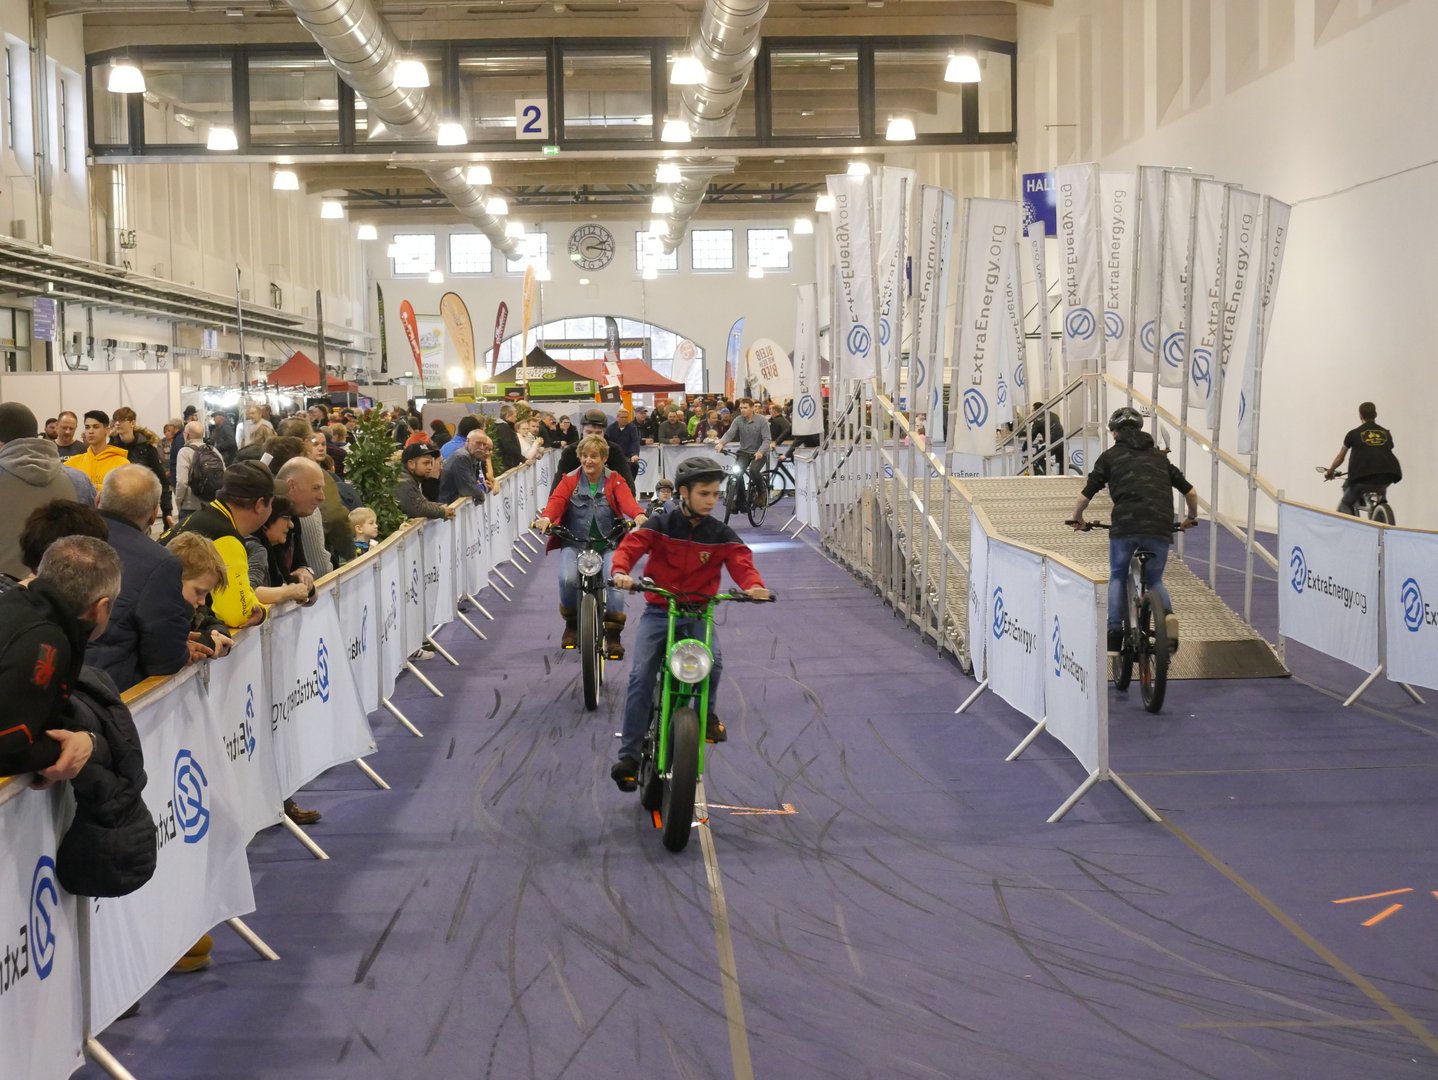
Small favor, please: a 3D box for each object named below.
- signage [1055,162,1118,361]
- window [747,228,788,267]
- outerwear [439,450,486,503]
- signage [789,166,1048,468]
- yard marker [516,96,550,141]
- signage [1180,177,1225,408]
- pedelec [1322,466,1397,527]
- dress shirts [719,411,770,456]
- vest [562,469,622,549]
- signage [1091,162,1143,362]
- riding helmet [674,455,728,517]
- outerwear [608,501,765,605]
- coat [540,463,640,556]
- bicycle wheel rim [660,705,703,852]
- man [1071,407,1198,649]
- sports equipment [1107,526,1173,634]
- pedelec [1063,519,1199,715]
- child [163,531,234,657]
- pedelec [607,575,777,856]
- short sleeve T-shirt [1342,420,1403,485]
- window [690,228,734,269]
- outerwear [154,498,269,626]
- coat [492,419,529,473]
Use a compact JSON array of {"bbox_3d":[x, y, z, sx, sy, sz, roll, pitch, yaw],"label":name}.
[{"bbox_3d":[3.641,-2.764,12.252,0.475,1.921,0.507,0,6,7],"label":"signage"},{"bbox_3d":[1.925,-11.742,49.228,2.046,2.373,0.237,0,1,-5],"label":"window"},{"bbox_3d":[-2.576,-0.593,12.400,0.408,0.771,0.534,-5,3,0],"label":"outerwear"},{"bbox_3d":[2.278,-2.366,13.883,2.339,3.741,6.918,1,7,12],"label":"signage"},{"bbox_3d":[-3.494,-7.934,23.220,0.587,0.804,0.829,-2,6,-11],"label":"yard marker"},{"bbox_3d":[4.301,-2.062,10.741,0.515,2.320,0.064,4,32,28],"label":"signage"},{"bbox_3d":[7.244,-0.480,13.761,0.539,0.717,1.049,-4,8,8],"label":"pedelec"},{"bbox_3d":[0.532,-1.759,21.088,0.679,0.842,0.715,-2,-8,13],"label":"dress shirts"},{"bbox_3d":[-1.015,-0.142,9.892,0.568,0.886,0.450,1,-8,-6],"label":"vest"},{"bbox_3d":[3.998,-2.689,12.323,0.404,2.176,0.041,6,45,21],"label":"signage"},{"bbox_3d":[-0.076,-0.311,6.697,0.217,0.335,0.309,-1,39,-18],"label":"riding helmet"},{"bbox_3d":[-0.163,0.082,6.809,0.752,0.606,0.479,7,11,-2],"label":"outerwear"},{"bbox_3d":[-1.012,-0.230,9.927,0.773,0.785,0.547,-1,-3,-7],"label":"coat"},{"bbox_3d":[-0.172,1.254,6.256,0.187,0.780,0.336,-2,6,-15],"label":"bicycle wheel rim"},{"bbox_3d":[3.216,-0.027,9.488,0.906,2.088,0.731,-1,-15,24],"label":"man"},{"bbox_3d":[3.173,0.284,9.438,0.433,0.550,0.790,1,0,1],"label":"sports equipment"},{"bbox_3d":[3.008,0.696,9.210,0.595,0.925,1.360,2,7,4],"label":"pedelec"},{"bbox_3d":[-2.167,0.239,5.155,0.175,0.530,0.361,1,3,19],"label":"child"},{"bbox_3d":[-0.177,0.925,6.535,0.533,1.381,0.897,-3,6,-21],"label":"pedelec"},{"bbox_3d":[7.707,-0.990,14.449,0.558,0.725,0.355,3,7,33],"label":"short sleeve T-shirt"},{"bbox_3d":[-0.225,-11.591,49.358,1.688,1.688,0.471,-1,6,-7],"label":"window"},{"bbox_3d":[-2.307,0.132,5.677,0.183,0.521,0.516,-20,-31,-9],"label":"outerwear"},{"bbox_3d":[-3.186,-1.267,18.751,0.506,1.200,0.859,-3,9,-11],"label":"coat"}]
